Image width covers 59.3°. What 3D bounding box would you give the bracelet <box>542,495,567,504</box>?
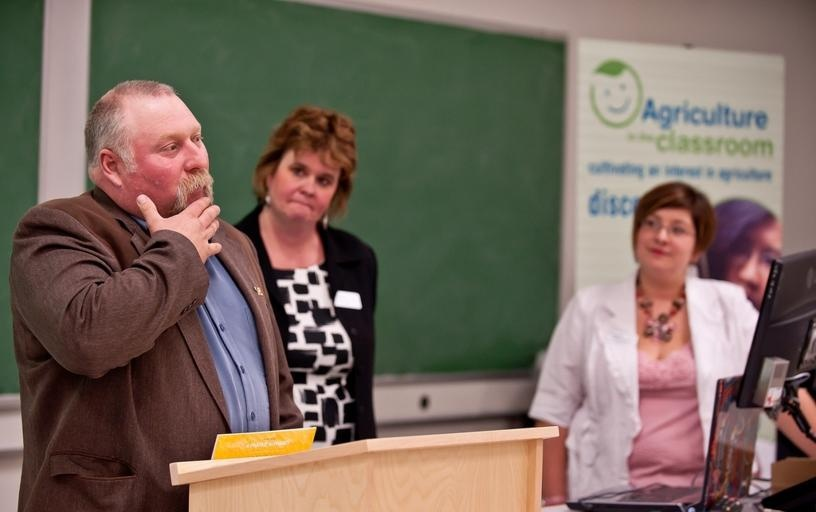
[{"bbox_3d":[0.655,1.090,3.183,0.101,0.038,0.066,0,-1,7],"label":"bracelet"}]

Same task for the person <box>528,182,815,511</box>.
[{"bbox_3d":[1.050,0.401,3.014,1.057,1.937,0.620,6,-13,-1],"label":"person"}]
